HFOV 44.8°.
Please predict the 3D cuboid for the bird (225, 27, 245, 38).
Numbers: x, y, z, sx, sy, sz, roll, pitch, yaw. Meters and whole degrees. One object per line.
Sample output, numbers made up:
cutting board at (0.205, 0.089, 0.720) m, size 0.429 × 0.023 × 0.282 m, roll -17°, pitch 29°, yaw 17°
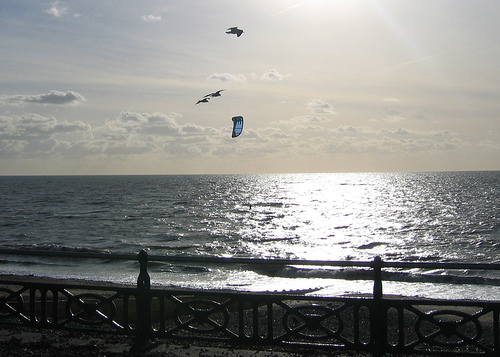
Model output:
bird at (-0.398, -4.216, 17.472) m, size 0.385 × 0.275 × 0.634 m, roll 1°, pitch 5°, yaw -6°
